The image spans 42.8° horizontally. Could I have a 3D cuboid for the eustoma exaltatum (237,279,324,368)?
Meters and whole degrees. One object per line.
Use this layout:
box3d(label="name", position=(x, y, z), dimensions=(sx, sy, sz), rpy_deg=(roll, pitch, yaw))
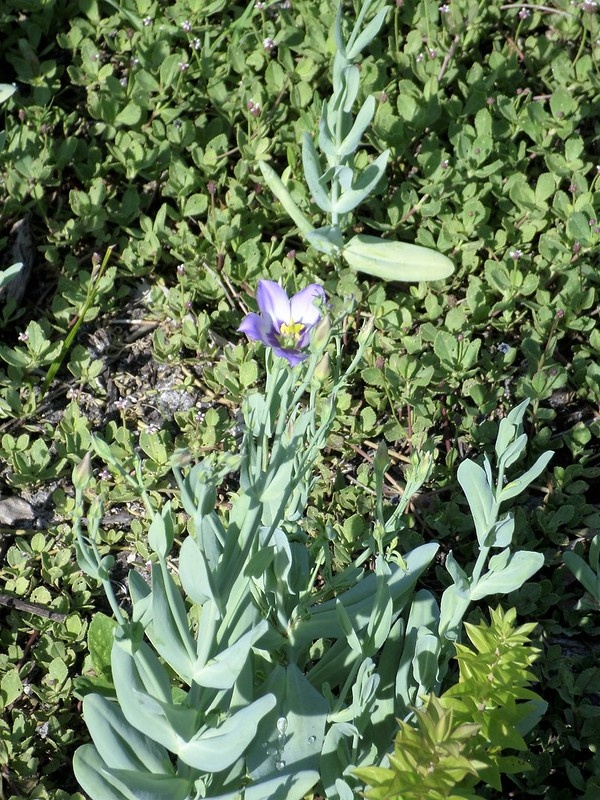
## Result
box3d(label="eustoma exaltatum", position=(-0.016, -0.094, 1.065), dimensions=(0.143, 0.137, 0.040), rpy_deg=(-23, 97, 4))
